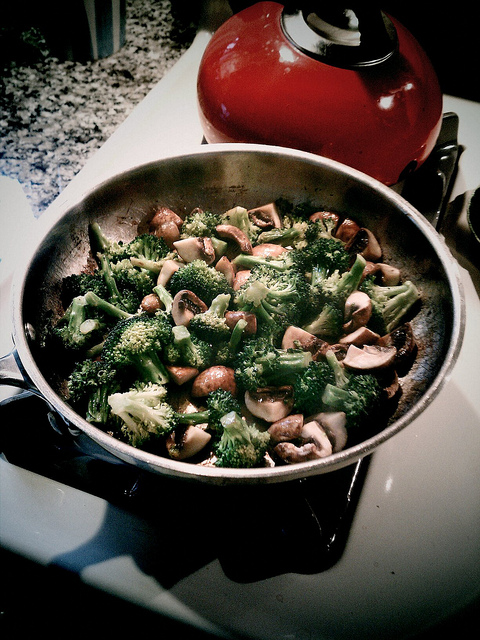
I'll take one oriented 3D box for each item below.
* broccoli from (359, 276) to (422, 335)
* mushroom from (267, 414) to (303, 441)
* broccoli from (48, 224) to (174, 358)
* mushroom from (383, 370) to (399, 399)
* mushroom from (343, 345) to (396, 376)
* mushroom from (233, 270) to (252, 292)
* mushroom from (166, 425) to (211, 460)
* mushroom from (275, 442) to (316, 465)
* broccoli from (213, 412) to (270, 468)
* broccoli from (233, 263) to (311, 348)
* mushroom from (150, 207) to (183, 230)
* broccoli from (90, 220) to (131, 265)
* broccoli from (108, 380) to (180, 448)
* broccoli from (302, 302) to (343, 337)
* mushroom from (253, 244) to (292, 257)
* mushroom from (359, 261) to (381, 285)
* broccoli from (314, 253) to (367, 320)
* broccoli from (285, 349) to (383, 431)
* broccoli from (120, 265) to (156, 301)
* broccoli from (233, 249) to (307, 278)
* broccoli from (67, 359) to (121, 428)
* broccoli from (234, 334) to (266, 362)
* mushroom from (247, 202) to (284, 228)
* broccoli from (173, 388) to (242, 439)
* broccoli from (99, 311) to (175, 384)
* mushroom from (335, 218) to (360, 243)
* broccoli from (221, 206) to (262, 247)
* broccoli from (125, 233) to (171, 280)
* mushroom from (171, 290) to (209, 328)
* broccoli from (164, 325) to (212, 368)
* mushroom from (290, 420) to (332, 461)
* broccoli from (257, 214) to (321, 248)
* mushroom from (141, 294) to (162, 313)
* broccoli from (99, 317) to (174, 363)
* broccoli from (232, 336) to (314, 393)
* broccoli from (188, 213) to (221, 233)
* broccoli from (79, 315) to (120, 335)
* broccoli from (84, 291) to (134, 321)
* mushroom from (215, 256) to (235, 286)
[{"bbox_3d":[0.304,-0.026,1.150,0.110,0.037,0.106,-28,64,-9],"label":"broccoli"},{"bbox_3d":[0.080,0.185,0.985,0.045,0.014,0.048,-37,22,-14],"label":"mushroom"},{"bbox_3d":[-0.245,-0.083,1.171,0.223,0.118,0.324,9,53,1],"label":"broccoli"},{"bbox_3d":[0.274,0.120,1.020,0.035,0.014,0.037,15,89,11],"label":"mushroom"},{"bbox_3d":[0.232,0.073,1.034,0.063,0.020,0.064,3,48,26],"label":"mushroom"},{"bbox_3d":[0.005,-0.079,1.145,0.030,0.011,0.040,-6,56,40],"label":"mushroom"},{"bbox_3d":[-0.088,0.211,0.982,0.071,0.023,0.053,-22,45,-34],"label":"mushroom"},{"bbox_3d":[0.092,0.221,0.944,0.043,0.036,0.016,11,102,43],"label":"mushroom"},{"bbox_3d":[0.001,0.216,1.014,0.096,0.055,0.092,-31,72,-1],"label":"broccoli"},{"bbox_3d":[0.062,-0.013,1.135,0.132,0.063,0.155,22,72,8],"label":"broccoli"},{"bbox_3d":[-0.159,-0.220,1.215,0.052,0.019,0.052,38,77,20],"label":"mushroom"},{"bbox_3d":[-0.272,-0.172,1.186,0.048,0.067,0.095,-39,96,-19],"label":"broccoli"},{"bbox_3d":[-0.168,0.163,0.999,0.097,0.072,0.100,-23,60,-14],"label":"broccoli"},{"bbox_3d":[0.167,0.006,1.129,0.076,0.046,0.056,-21,31,2],"label":"broccoli"},{"bbox_3d":[0.060,-0.146,1.181,0.048,0.025,0.039,5,18,16],"label":"mushroom"},{"bbox_3d":[0.269,-0.095,1.177,0.045,0.025,0.037,-45,19,-14],"label":"mushroom"},{"bbox_3d":[0.202,-0.067,1.153,0.091,0.066,0.127,41,80,-6],"label":"broccoli"},{"bbox_3d":[0.171,0.122,1.023,0.141,0.051,0.139,24,54,21],"label":"broccoli"},{"bbox_3d":[-0.209,-0.078,1.158,0.077,0.036,0.059,39,81,23],"label":"broccoli"},{"bbox_3d":[0.064,-0.112,1.187,0.148,0.055,0.059,2,59,18],"label":"broccoli"},{"bbox_3d":[-0.261,0.134,1.015,0.075,0.084,0.095,-30,56,18],"label":"broccoli"},{"bbox_3d":[0.025,0.055,1.069,0.044,0.017,0.056,-4,48,56],"label":"broccoli"},{"bbox_3d":[0.053,-0.223,1.230,0.064,0.021,0.059,-23,80,14],"label":"mushroom"},{"bbox_3d":[-0.061,0.173,1.049,0.110,0.061,0.080,-18,55,15],"label":"broccoli"},{"bbox_3d":[-0.187,0.063,1.082,0.128,0.135,0.138,-28,92,-11],"label":"broccoli"},{"bbox_3d":[0.222,-0.185,1.175,0.043,0.016,0.042,23,83,12],"label":"mushroom"},{"bbox_3d":[0.004,-0.208,1.212,0.085,0.082,0.025,31,46,8],"label":"broccoli"},{"bbox_3d":[-0.194,-0.123,1.202,0.095,0.039,0.089,11,73,13],"label":"broccoli"},{"bbox_3d":[-0.096,-0.019,1.081,0.061,0.031,0.070,-4,86,-29],"label":"mushroom"},{"bbox_3d":[-0.095,0.056,1.071,0.083,0.061,0.103,-22,16,1],"label":"broccoli"},{"bbox_3d":[0.127,0.209,0.960,0.056,0.023,0.057,-43,29,2],"label":"mushroom"},{"bbox_3d":[0.109,-0.187,1.201,0.103,0.039,0.067,7,55,33],"label":"broccoli"},{"bbox_3d":[-0.176,-0.035,1.126,0.036,0.026,0.035,13,60,23],"label":"mushroom"},{"bbox_3d":[-0.190,0.032,1.062,0.105,0.044,0.082,-35,19,-26],"label":"broccoli"},{"bbox_3d":[0.057,0.085,0.992,0.119,0.069,0.084,-6,90,8],"label":"broccoli"},{"bbox_3d":[-0.076,-0.206,1.191,0.046,0.024,0.048,-6,42,10],"label":"broccoli"},{"bbox_3d":[-0.273,0.011,1.100,0.027,0.089,0.026,44,109,2],"label":"broccoli"},{"bbox_3d":[-0.264,-0.026,1.125,0.022,0.096,0.025,11,76,59],"label":"broccoli"},{"bbox_3d":[-0.028,-0.100,1.144,0.041,0.051,0.020,8,20,9],"label":"mushroom"}]
